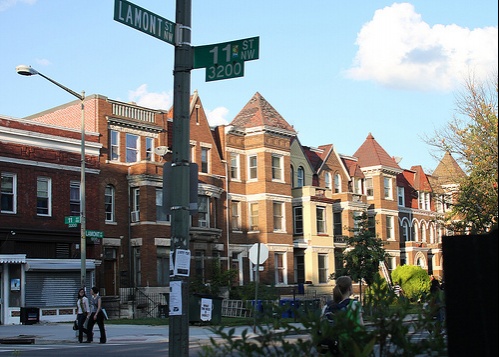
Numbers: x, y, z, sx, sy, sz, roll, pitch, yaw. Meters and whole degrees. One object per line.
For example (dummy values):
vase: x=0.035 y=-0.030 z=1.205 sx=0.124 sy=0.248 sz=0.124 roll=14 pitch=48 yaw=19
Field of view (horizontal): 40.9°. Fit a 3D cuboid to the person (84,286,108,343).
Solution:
person: x=-5.072 y=4.516 z=22.312 sx=0.630 sy=1.821 sz=1.525 roll=2 pitch=-13 yaw=-13
